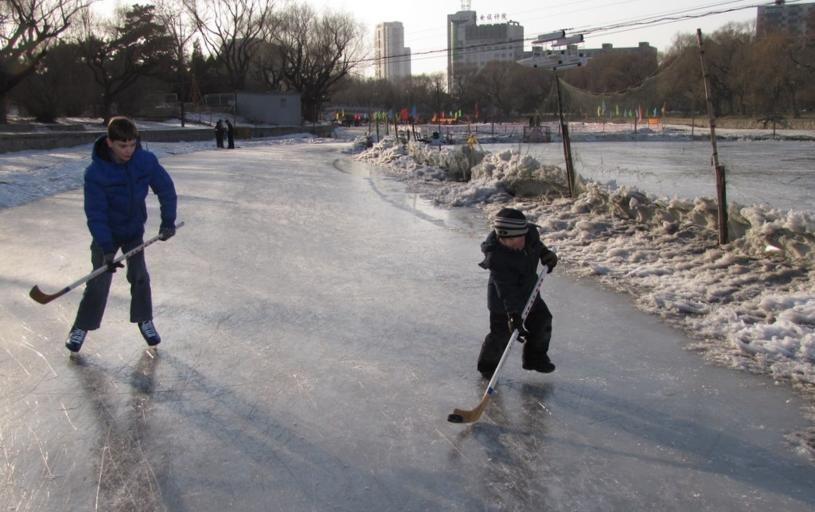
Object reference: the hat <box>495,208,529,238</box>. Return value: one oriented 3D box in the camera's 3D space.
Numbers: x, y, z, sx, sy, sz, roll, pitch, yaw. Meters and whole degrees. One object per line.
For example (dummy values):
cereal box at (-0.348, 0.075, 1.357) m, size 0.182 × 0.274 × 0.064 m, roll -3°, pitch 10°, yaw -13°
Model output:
hat at (1.015, -0.326, 6.734) m, size 0.258 × 0.227 × 0.274 m, roll -4°, pitch 17°, yaw 30°

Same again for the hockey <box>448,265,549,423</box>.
hockey at (0.928, 0.937, 7.025) m, size 0.251 × 0.144 × 1.626 m, roll 0°, pitch 50°, yaw 48°

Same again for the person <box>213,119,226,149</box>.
person at (-8.878, -5.796, 33.160) m, size 0.352 × 1.314 × 1.649 m, roll -4°, pitch 15°, yaw -18°

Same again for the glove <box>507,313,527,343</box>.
glove at (1.095, 0.702, 6.706) m, size 0.073 × 0.281 × 0.262 m, roll -2°, pitch 19°, yaw -18°

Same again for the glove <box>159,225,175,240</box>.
glove at (-2.548, -0.238, 7.445) m, size 0.124 × 0.069 × 0.183 m, roll 9°, pitch 26°, yaw 11°

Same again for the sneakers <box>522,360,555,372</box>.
sneakers at (1.328, 1.073, 7.015) m, size 0.236 × 0.116 × 0.142 m, roll -1°, pitch 3°, yaw 26°

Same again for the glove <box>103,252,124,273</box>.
glove at (-3.040, 0.026, 7.273) m, size 0.106 × 0.143 × 0.420 m, roll -18°, pitch 20°, yaw -6°

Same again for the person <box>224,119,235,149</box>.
person at (-8.142, -5.579, 32.221) m, size 0.285 × 1.296 × 1.813 m, roll -4°, pitch 15°, yaw -16°

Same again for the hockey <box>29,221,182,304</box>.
hockey at (-3.689, 0.122, 8.595) m, size 0.224 × 0.187 × 1.678 m, roll 39°, pitch 56°, yaw 24°

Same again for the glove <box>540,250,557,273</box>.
glove at (1.396, 0.050, 6.873) m, size 0.074 × 0.235 × 0.163 m, roll -1°, pitch 3°, yaw -16°
